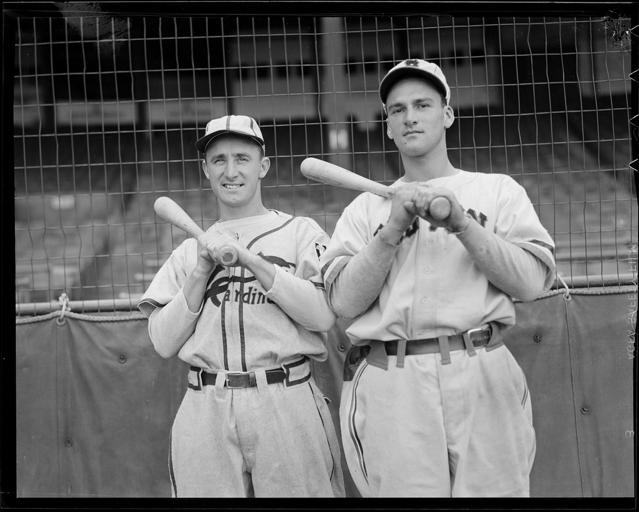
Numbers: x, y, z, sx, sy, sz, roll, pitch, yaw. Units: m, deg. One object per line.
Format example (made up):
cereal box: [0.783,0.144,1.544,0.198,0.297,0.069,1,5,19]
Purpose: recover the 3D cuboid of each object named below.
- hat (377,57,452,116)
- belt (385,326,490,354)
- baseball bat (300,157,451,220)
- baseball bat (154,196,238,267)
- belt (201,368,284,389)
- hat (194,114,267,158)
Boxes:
hat: [0.437,-0.793,6.890,0.317,0.216,0.427,-2,-21,-5]
belt: [0.532,0.368,6.694,0.473,0.119,0.116,-2,-3,-7]
baseball bat: [0.273,-0.325,7.076,0.700,0.167,0.116,17,14,0]
baseball bat: [-0.566,-0.129,7.207,0.472,0.101,0.100,41,9,33]
belt: [-0.336,0.549,6.861,0.397,0.083,0.100,-3,-3,-3]
hat: [-0.429,-0.573,7.071,0.294,0.190,0.365,0,-16,-20]
